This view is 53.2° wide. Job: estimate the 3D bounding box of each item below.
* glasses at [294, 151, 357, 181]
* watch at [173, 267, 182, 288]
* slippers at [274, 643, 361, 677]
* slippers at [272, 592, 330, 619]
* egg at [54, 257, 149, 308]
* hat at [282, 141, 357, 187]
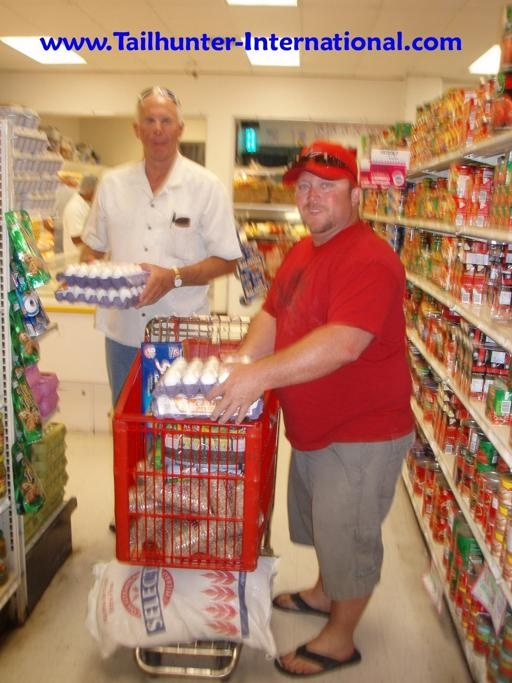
[{"bbox_3d":[0.205,-0.506,1.505,0.200,0.077,0.145,5,6,3],"label":"glasses"},{"bbox_3d":[-0.341,-0.276,2.249,0.040,0.070,0.066,-8,42,-15],"label":"watch"},{"bbox_3d":[0.223,1.100,1.749,0.310,0.087,0.127,1,8,-7],"label":"slippers"},{"bbox_3d":[0.186,1.099,2.153,0.246,0.069,0.092,9,16,0],"label":"slippers"},{"bbox_3d":[-0.599,-0.219,1.969,0.213,0.105,0.225,11,14,31],"label":"egg"},{"bbox_3d":[0.235,-0.554,1.549,0.147,0.109,0.198,8,0,44],"label":"hat"}]
